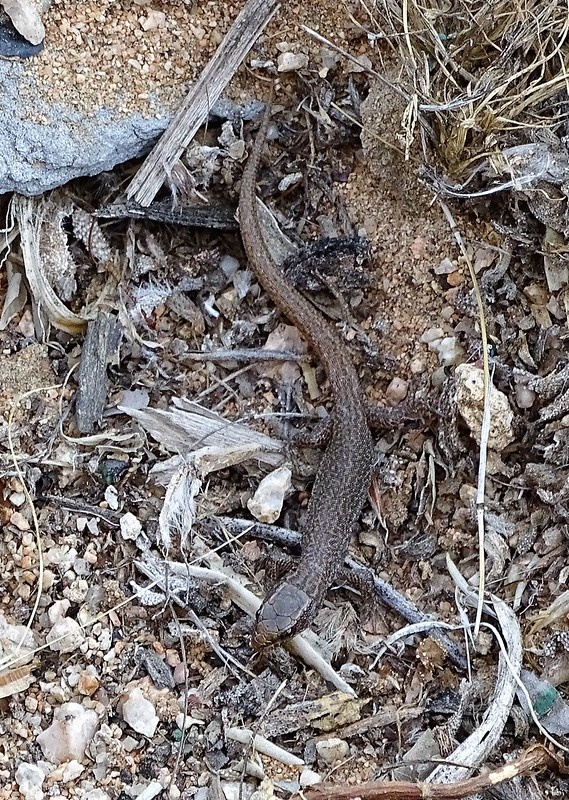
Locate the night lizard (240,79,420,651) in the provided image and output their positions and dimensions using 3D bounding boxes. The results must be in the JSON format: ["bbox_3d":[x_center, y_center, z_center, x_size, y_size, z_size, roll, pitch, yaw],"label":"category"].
[{"bbox_3d":[0.133,-0.051,3.069,0.594,0.281,2.135,-3,91,8],"label":"night lizard"}]
